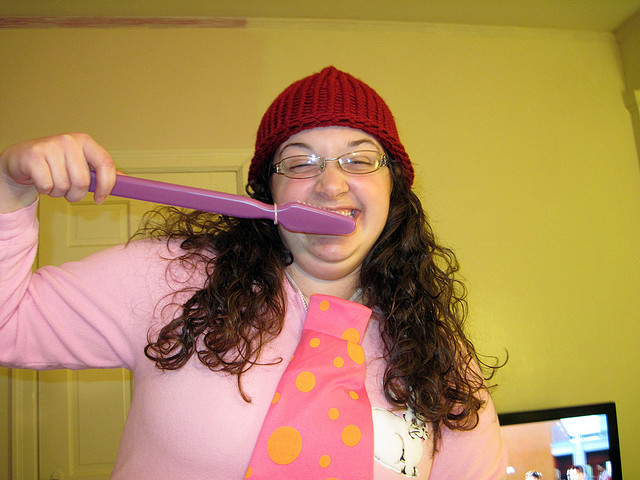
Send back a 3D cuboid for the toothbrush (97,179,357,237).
[{"bbox_3d":[-0.267,-0.084,1.878,0.744,0.101,0.134,5,-13,-11],"label":"toothbrush"}]
